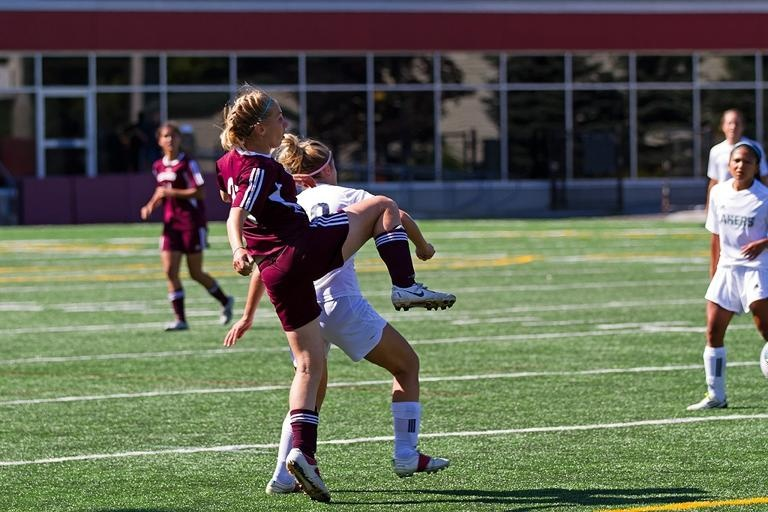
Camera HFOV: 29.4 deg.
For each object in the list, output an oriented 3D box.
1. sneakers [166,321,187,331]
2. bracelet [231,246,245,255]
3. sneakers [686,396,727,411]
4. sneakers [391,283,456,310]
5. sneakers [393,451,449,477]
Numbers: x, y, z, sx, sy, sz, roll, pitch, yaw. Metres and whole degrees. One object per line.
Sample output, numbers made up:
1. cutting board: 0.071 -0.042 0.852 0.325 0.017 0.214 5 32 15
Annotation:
1. sneakers: -2.668 0.878 18.911 0.327 0.103 0.104 2 0 -5
2. bracelet: -1.340 -0.087 13.466 0.110 0.082 0.132 -2 14 -6
3. sneakers: 3.420 1.556 15.673 0.525 0.158 0.153 1 -4 1
4. sneakers: 0.333 0.367 13.955 0.728 0.249 0.222 -2 -21 -5
5. sneakers: 0.324 1.972 14.080 0.597 0.207 0.203 -5 2 -9
